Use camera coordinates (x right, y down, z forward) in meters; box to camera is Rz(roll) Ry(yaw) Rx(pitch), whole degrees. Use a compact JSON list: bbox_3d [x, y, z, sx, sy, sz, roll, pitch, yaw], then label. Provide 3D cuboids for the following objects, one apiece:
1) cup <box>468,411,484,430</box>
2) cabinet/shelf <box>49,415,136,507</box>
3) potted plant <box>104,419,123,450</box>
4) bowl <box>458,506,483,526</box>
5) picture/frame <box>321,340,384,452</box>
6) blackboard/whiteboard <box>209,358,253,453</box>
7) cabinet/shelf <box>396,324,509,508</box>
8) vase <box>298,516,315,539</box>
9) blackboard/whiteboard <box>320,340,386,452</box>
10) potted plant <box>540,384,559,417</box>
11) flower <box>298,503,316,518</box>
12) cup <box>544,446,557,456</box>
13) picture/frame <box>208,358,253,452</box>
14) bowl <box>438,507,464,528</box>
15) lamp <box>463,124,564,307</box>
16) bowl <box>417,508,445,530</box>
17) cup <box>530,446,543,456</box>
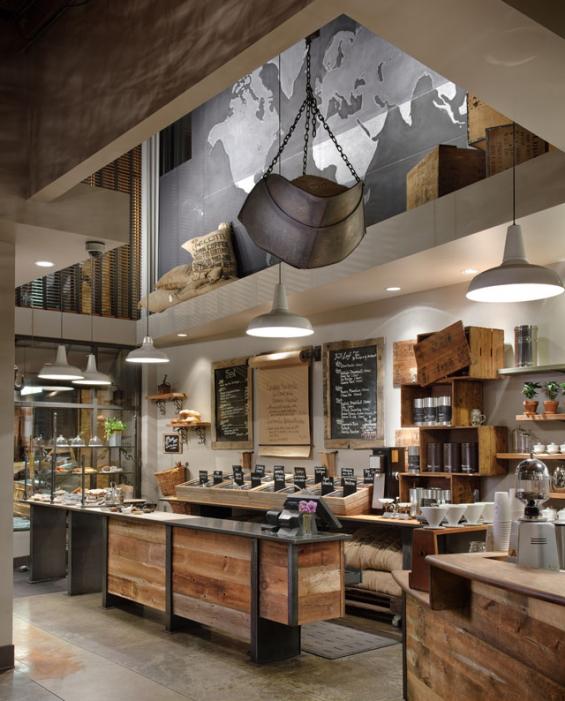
[{"bbox_3d":[1.664,0.618,5.333,0.177,0.176,0.110,-1,-4,25],"label":"cup"},{"bbox_3d":[-2.830,1.608,8.841,1.450,1.570,0.509,3,-5,-44],"label":"cabinet/shelf"},{"bbox_3d":[-2.728,1.342,9.785,0.386,0.520,0.499,0,-4,-3],"label":"potted plant"},{"bbox_3d":[1.005,0.886,3.280,0.155,0.123,0.150,-1,-10,0],"label":"bowl"},{"bbox_3d":[0.803,0.528,6.820,0.082,1.617,1.201,4,-6,-36],"label":"picture/frame"},{"bbox_3d":[-0.720,0.807,8.678,0.082,1.700,1.230,5,-9,-34],"label":"blackboard/whiteboard"},{"bbox_3d":[1.522,0.628,5.537,0.595,1.520,1.031,6,-12,-28],"label":"cabinet/shelf"},{"bbox_3d":[0.179,1.245,4.303,0.181,0.160,0.097,8,-13,-37],"label":"vase"},{"bbox_3d":[0.812,0.528,6.810,0.081,1.625,1.207,4,-6,-35],"label":"blackboard/whiteboard"},{"bbox_3d":[2.093,0.403,4.761,0.132,0.280,0.426,-5,-12,23],"label":"potted plant"},{"bbox_3d":[0.166,1.129,4.289,0.099,0.099,0.094,6,-2,-8],"label":"flower"},{"bbox_3d":[2.032,0.768,4.622,0.098,0.066,0.086,-3,-3,16],"label":"cup"},{"bbox_3d":[-0.728,0.800,8.687,0.091,1.749,1.222,4,-8,-34],"label":"picture/frame"},{"bbox_3d":[0.856,0.836,3.079,0.142,0.111,0.146,3,-8,0],"label":"bowl"},{"bbox_3d":[1.198,-0.738,3.313,0.433,1.118,0.990,-3,-11,17],"label":"lamp"},{"bbox_3d":[0.735,0.833,3.003,0.109,0.104,0.198,-3,-11,14],"label":"bowl"},{"bbox_3d":[1.990,0.786,4.747,0.081,0.059,0.080,0,-10,0],"label":"cup"}]
